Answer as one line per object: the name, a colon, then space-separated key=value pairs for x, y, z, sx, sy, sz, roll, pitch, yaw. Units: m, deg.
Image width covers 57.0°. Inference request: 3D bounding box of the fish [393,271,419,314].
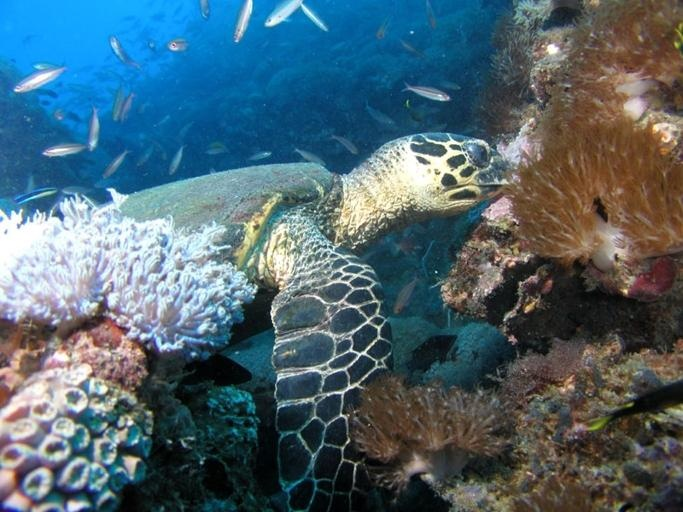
fish: x=0.709 y=0.407 z=6.793 sx=0.091 sy=0.157 sz=0.419 roll=32 pitch=85 yaw=-2
